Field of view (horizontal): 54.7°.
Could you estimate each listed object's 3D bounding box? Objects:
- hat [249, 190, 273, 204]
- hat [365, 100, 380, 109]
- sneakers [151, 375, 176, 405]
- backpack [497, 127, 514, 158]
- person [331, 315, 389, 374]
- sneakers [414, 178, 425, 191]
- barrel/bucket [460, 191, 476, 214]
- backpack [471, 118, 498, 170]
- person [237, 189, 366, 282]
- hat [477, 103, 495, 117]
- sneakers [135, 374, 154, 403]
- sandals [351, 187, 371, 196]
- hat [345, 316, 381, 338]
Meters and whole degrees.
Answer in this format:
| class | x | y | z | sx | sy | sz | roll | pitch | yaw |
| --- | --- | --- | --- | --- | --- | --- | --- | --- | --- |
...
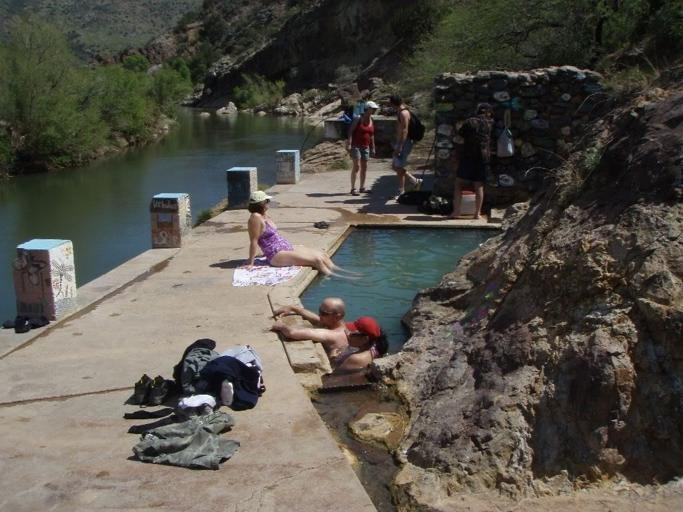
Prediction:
| class | x | y | z | sx | sy | sz | roll | pitch | yaw |
| --- | --- | --- | --- | --- | --- | --- | --- | --- | --- |
| hat | -1.178 | -0.839 | 9.666 | 0.325 | 0.138 | 0.428 | -6 | 5 | -3 |
| hat | 0.622 | -3.250 | 14.353 | 0.247 | 0.129 | 0.365 | -9 | 11 | -36 |
| sneakers | -1.684 | 1.243 | 6.210 | 0.115 | 0.147 | 0.337 | 2 | 15 | 6 |
| backpack | 3.222 | -2.209 | 12.924 | 0.323 | 0.534 | 0.321 | -12 | 19 | -43 |
| person | 0.188 | 0.972 | 7.275 | 0.594 | 0.516 | 0.741 | 4 | 13 | 11 |
| sneakers | 1.776 | -1.627 | 15.054 | 0.202 | 0.247 | 0.582 | -11 | 8 | 12 |
| barrel/bucket | 2.464 | -1.012 | 12.882 | 0.342 | 0.368 | 0.402 | -1 | 4 | -9 |
| backpack | 2.624 | -2.112 | 11.962 | 0.352 | 1.042 | 0.782 | 6 | 5 | 4 |
| person | -0.527 | -0.300 | 9.824 | 1.812 | 1.048 | 0.808 | 11 | 20 | 5 |
| hat | 2.657 | -2.673 | 12.123 | 0.261 | 0.303 | 0.312 | 6 | 28 | 11 |
| sneakers | -1.848 | 1.235 | 6.186 | 0.110 | 0.213 | 0.317 | 1 | 15 | -3 |
| sandals | 0.480 | -1.502 | 15.443 | 0.515 | 0.180 | 0.179 | -5 | 19 | -14 |
| hat | 0.244 | 0.779 | 7.402 | 0.332 | 0.166 | 0.201 | 5 | 5 | 4 |
